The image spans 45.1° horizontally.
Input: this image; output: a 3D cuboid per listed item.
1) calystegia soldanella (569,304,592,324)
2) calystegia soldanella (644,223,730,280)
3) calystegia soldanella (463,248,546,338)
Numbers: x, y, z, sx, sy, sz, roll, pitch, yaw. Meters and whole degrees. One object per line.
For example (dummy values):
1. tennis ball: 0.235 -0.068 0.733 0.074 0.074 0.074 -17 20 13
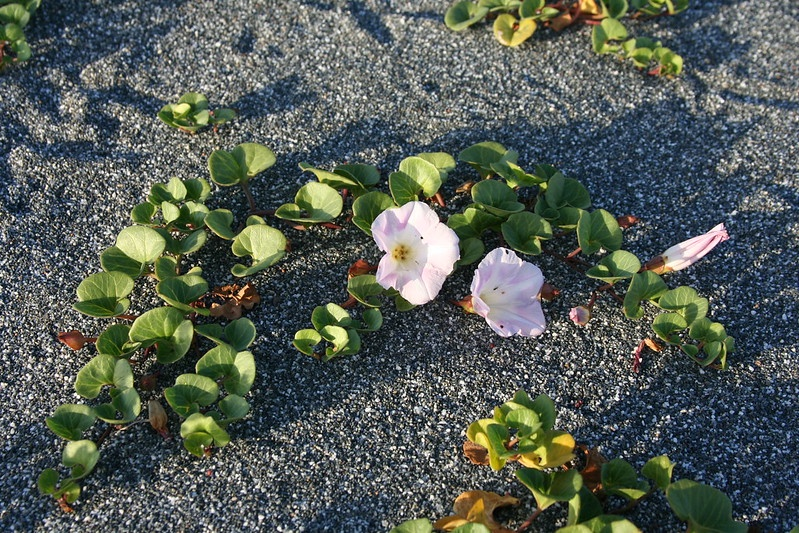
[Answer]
1. calystegia soldanella: 1.454 0.379 7.773 0.147 0.142 0.100 55 12 -3
2. calystegia soldanella: 2.371 -0.105 7.977 0.157 0.562 0.211 44 38 -20
3. calystegia soldanella: 0.788 0.221 7.490 0.706 0.371 0.770 1 42 -36
